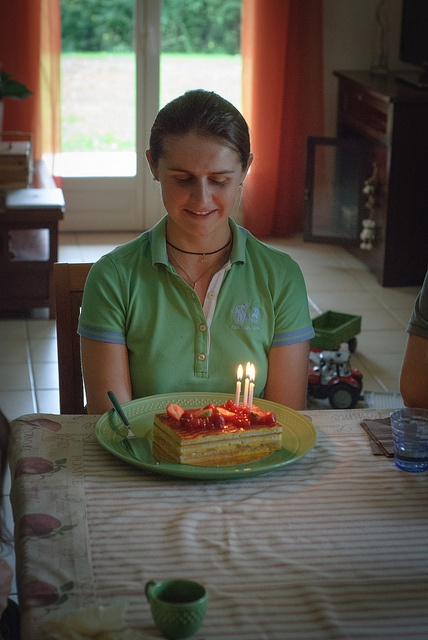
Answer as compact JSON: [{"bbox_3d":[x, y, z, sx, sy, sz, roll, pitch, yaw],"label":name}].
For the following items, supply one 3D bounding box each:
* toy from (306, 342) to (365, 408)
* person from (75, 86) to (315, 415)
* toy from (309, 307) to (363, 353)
[{"bbox_3d":[0.525,0.255,2.544,0.330,0.198,0.175,2,16,17],"label":"toy"},{"bbox_3d":[-0.030,-0.139,1.268,0.526,0.711,0.219,0,12,-13],"label":"person"},{"bbox_3d":[0.555,0.047,2.773,0.204,0.182,0.372,9,17,35],"label":"toy"}]
